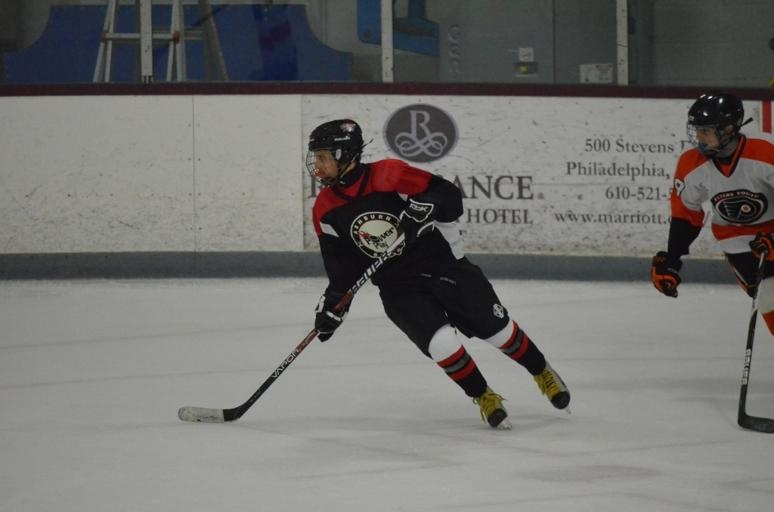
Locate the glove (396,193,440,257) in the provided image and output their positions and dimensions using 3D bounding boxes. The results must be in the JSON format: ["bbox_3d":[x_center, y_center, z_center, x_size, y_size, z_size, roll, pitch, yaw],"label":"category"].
[{"bbox_3d":[0.181,-0.214,7.328,0.200,0.268,0.123,24,5,18],"label":"glove"}]

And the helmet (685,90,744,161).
[{"bbox_3d":[2.036,-0.800,7.775,0.424,0.394,0.329,-15,6,-14],"label":"helmet"}]

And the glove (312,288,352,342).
[{"bbox_3d":[-0.320,0.337,7.557,0.188,0.316,0.128,26,4,8],"label":"glove"}]

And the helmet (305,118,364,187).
[{"bbox_3d":[-0.291,-0.629,7.612,0.406,0.364,0.305,-16,2,-12],"label":"helmet"}]

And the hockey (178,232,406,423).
[{"bbox_3d":[-0.604,0.494,8.203,0.178,1.572,0.178,40,-15,36],"label":"hockey"}]

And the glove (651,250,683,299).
[{"bbox_3d":[1.765,0.122,7.903,0.163,0.301,0.207,0,11,-5],"label":"glove"}]
